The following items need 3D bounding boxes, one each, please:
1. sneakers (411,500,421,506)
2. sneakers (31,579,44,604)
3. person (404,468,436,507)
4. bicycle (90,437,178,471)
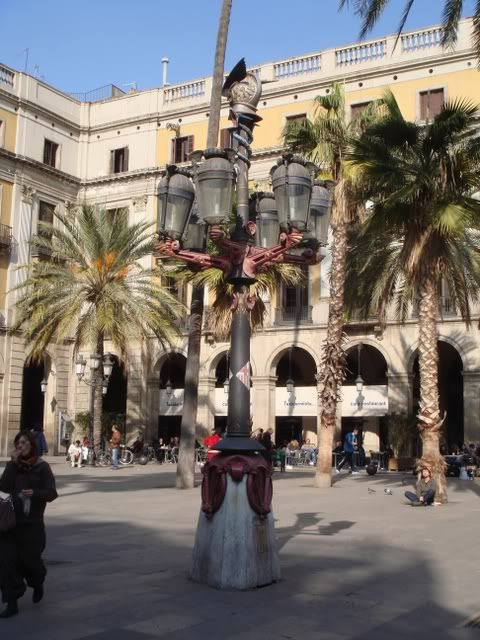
[{"bbox_3d":[3.475,3.584,12.974,0.159,0.108,0.269,1,-6,0],"label":"sneakers"},{"bbox_3d":[-1.462,1.964,4.803,0.072,0.196,0.193,2,-6,-18],"label":"sneakers"},{"bbox_3d":[3.678,3.382,13.459,0.549,0.792,1.200,-1,-6,17],"label":"person"},{"bbox_3d":[-4.182,5.975,28.285,2.501,0.772,1.538,2,-3,-32],"label":"bicycle"}]
